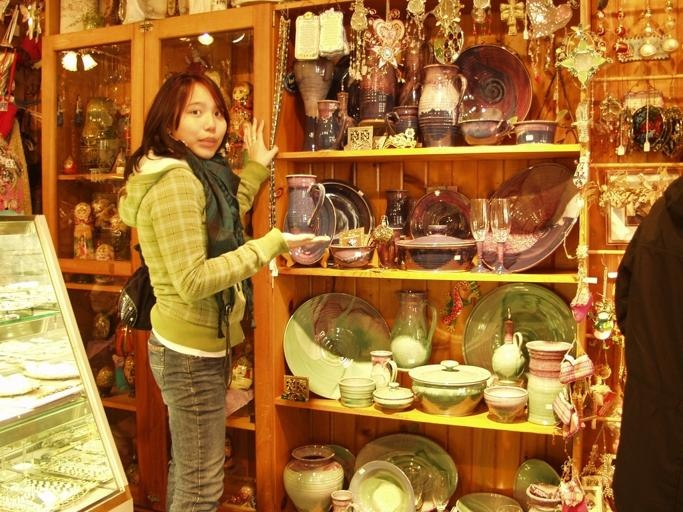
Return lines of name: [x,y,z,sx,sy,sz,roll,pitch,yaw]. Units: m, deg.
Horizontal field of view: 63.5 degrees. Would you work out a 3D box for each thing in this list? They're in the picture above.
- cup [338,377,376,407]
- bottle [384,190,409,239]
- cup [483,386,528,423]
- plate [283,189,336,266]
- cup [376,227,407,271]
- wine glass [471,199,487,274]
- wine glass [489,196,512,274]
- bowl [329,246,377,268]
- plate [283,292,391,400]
cup: [0.071,0.559,2.281,0.103,0.075,0.113,0,0,0]
bottle: [0.239,-0.180,2.307,0.138,0.232,0.149,0,-3,0]
cup: [0.628,0.561,2.103,0.157,0.126,0.162,0,6,0]
plate: [-0.085,-0.114,2.274,0.211,0.305,0.052,31,25,32]
cup: [0.214,-0.039,2.267,0.127,0.240,0.147,1,7,7]
wine glass: [0.538,-0.077,2.117,0.070,0.272,0.094,3,6,29]
wine glass: [0.616,-0.084,2.138,0.070,0.273,0.185,2,6,19]
bowl: [0.048,0.005,2.273,0.174,0.096,0.110,0,6,-1]
plate: [-0.011,0.385,2.368,0.423,0.107,0.487,-11,51,-16]
